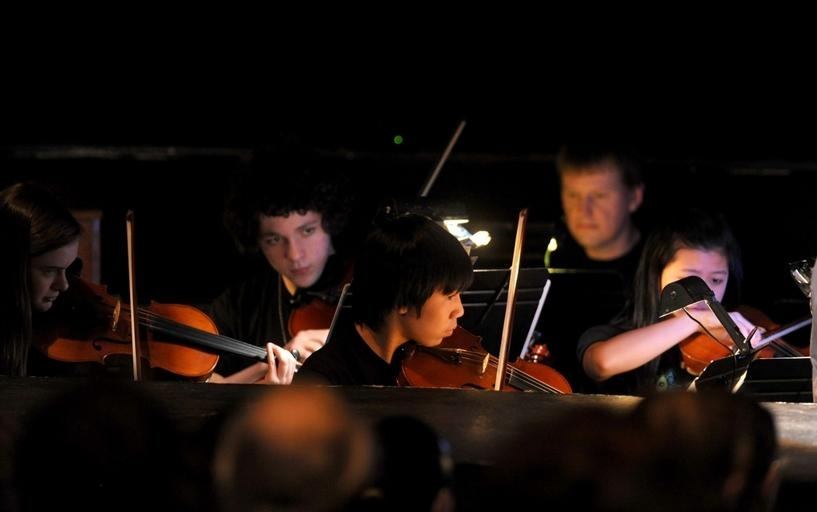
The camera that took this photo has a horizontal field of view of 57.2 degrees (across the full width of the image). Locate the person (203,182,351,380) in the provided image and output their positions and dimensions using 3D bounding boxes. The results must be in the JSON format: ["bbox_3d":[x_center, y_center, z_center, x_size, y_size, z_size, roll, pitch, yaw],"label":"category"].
[{"bbox_3d":[-0.730,0.149,4.353,0.670,1.218,0.330,-1,-6,-13],"label":"person"}]

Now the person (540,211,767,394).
[{"bbox_3d":[1.489,0.321,4.648,0.995,1.312,0.384,7,4,-6],"label":"person"}]

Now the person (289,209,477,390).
[{"bbox_3d":[-0.256,0.256,4.237,1.127,1.085,0.906,1,-5,9],"label":"person"}]
